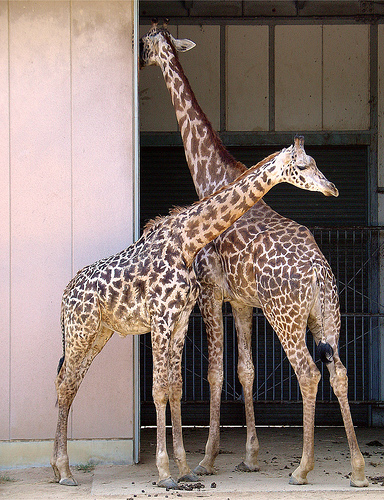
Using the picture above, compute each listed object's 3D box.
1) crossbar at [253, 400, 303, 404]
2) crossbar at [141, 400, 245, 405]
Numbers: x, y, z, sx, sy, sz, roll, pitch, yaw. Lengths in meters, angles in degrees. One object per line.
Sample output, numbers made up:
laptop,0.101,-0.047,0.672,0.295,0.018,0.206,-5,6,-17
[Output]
crossbar,0.728,1.272,10.159,0.408,0.035,0.259,-1,-9,4
crossbar,0.001,1.275,10.168,0.864,0.039,0.264,0,-9,-5
